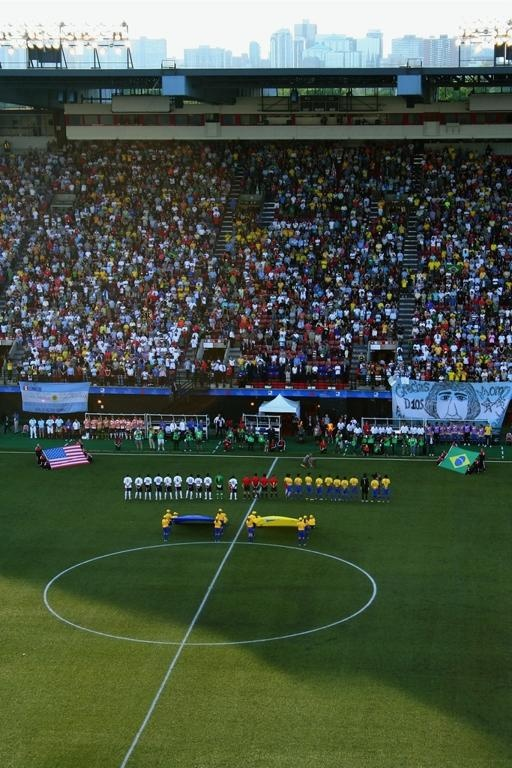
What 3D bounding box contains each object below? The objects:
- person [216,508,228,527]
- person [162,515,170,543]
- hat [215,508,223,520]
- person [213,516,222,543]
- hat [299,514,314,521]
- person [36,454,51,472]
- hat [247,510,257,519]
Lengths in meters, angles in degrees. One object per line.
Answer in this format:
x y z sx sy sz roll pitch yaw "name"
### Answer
-1.409 5.384 49.638 0.498 0.466 1.366 6 -25 7 "person"
-3.633 5.636 49.157 0.313 1.101 1.100 -2 10 -5 "person"
-1.517 5.246 49.836 0.243 0.555 0.377 12 -11 -25 "hat"
-1.513 5.650 48.558 0.267 1.075 0.825 -1 10 -3 "person"
2.053 5.420 50.119 0.445 0.231 0.193 7 -12 21 "hat"
-10.895 4.017 62.767 0.337 0.869 0.597 -13 -10 -44 "person"
-0.109 5.346 50.712 0.219 0.215 0.418 24 -7 1 "hat"
